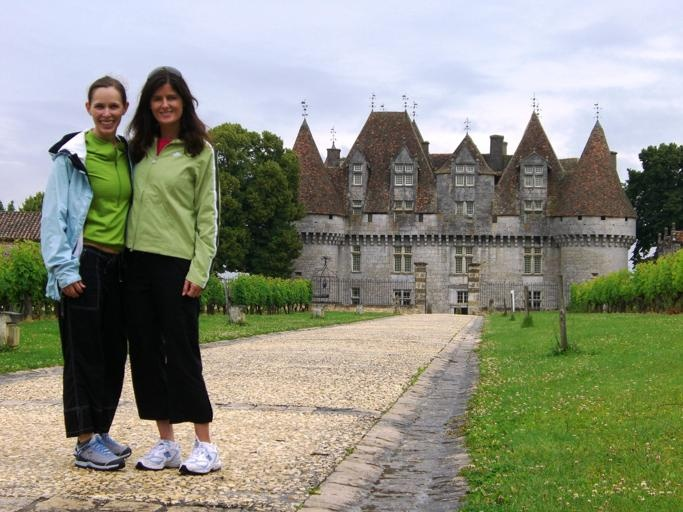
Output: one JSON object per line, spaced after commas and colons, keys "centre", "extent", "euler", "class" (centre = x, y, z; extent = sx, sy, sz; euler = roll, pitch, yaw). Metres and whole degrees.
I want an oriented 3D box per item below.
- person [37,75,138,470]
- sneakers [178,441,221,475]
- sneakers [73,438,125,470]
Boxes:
{"centre": [-1.828, 0.098, 5.463], "extent": [0.637, 2.924, 0.379], "euler": [-1, -2, -22], "class": "person"}
{"centre": [-0.993, 1.462, 5.338], "extent": [0.142, 0.182, 0.345], "euler": [-4, -9, 18], "class": "sneakers"}
{"centre": [-1.731, 1.427, 5.360], "extent": [0.398, 0.227, 0.165], "euler": [5, -1, 2], "class": "sneakers"}
